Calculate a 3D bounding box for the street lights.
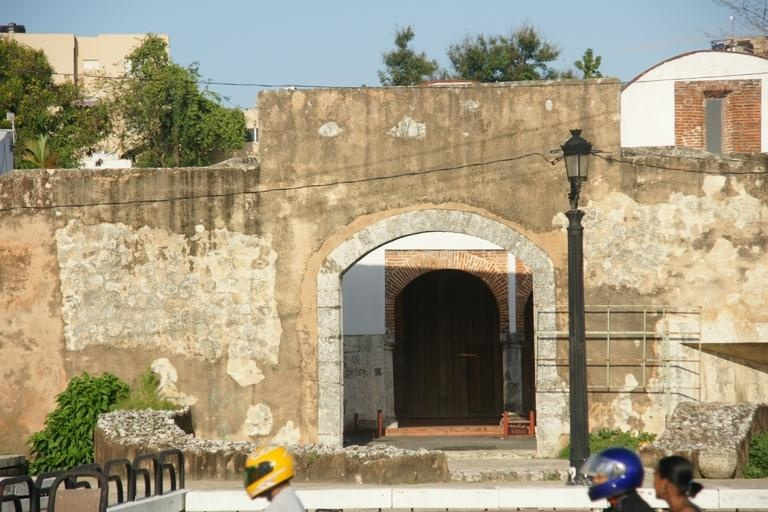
[{"bbox_3d":[4.519,1.144,37.616,0.675,8.307,0.900,-1,-5,3],"label":"street lights"}]
